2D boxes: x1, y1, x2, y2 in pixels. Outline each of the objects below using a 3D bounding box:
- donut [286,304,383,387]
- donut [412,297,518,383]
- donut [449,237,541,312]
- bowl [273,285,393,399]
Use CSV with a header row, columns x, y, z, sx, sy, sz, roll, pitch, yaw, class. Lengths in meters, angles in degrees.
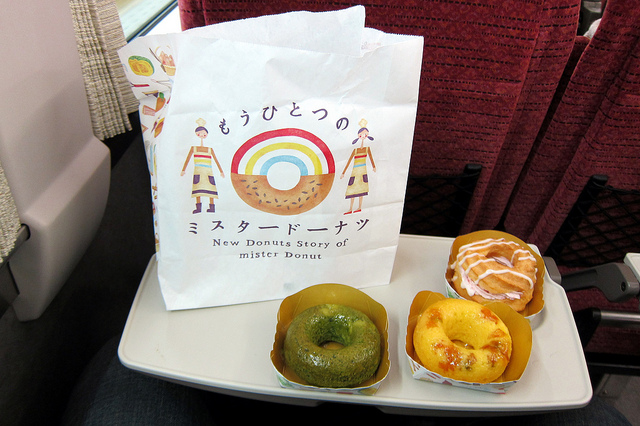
x,y,z,sx,sy,sz,roll,pitch,yaw,class
0.023,0.252,0.840,0.173,0.063,0.148,-2,50,-2,donut
0.278,0.251,0.869,0.186,0.069,0.181,-17,38,-16,donut
0.361,0.117,0.946,0.152,0.058,0.146,26,50,22,donut
0.023,0.250,0.849,0.227,0.080,0.236,-1,27,0,bowl
